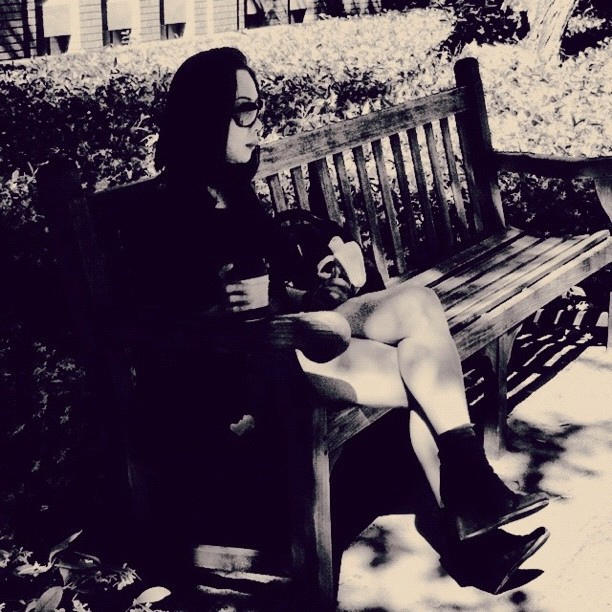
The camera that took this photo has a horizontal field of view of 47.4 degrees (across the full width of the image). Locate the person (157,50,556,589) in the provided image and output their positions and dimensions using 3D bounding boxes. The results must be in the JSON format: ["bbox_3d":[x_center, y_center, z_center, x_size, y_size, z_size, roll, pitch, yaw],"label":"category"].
[{"bbox_3d":[0.170,0.053,1.939,1.124,1.449,0.567,7,21,41],"label":"person"}]

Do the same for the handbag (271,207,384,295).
[{"bbox_3d":[0.082,-0.113,2.090,0.361,0.225,0.093,25,-45,-37],"label":"handbag"}]

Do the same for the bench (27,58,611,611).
[{"bbox_3d":[0.188,-0.121,2.725,1.170,1.629,2.441,1,15,40],"label":"bench"}]
